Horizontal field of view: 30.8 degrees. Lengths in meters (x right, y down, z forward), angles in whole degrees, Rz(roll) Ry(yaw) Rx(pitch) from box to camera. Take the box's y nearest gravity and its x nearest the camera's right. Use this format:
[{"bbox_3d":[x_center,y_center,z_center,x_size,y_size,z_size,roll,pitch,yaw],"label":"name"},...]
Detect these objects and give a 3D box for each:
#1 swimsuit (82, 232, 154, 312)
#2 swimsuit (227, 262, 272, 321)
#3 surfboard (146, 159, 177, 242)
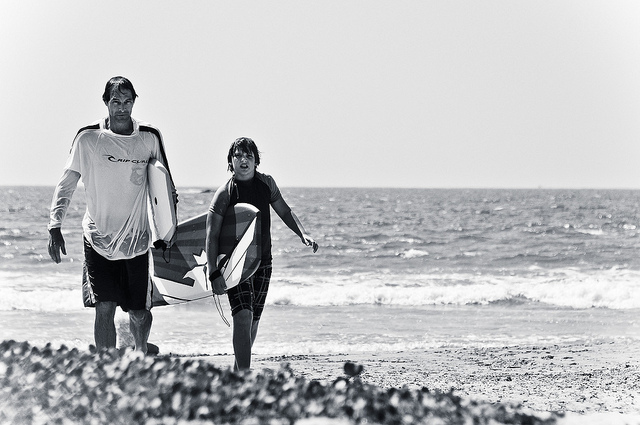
[{"bbox_3d":[-5.325,1.536,30.651,2.012,2.610,1.306,1,-6,-17],"label":"swimsuit"},{"bbox_3d":[-1.856,2.095,30.872,1.128,1.499,0.430,1,8,-6],"label":"swimsuit"},{"bbox_3d":[-4.184,-0.372,30.456,0.325,2.346,1.684,-12,20,-26],"label":"surfboard"}]
